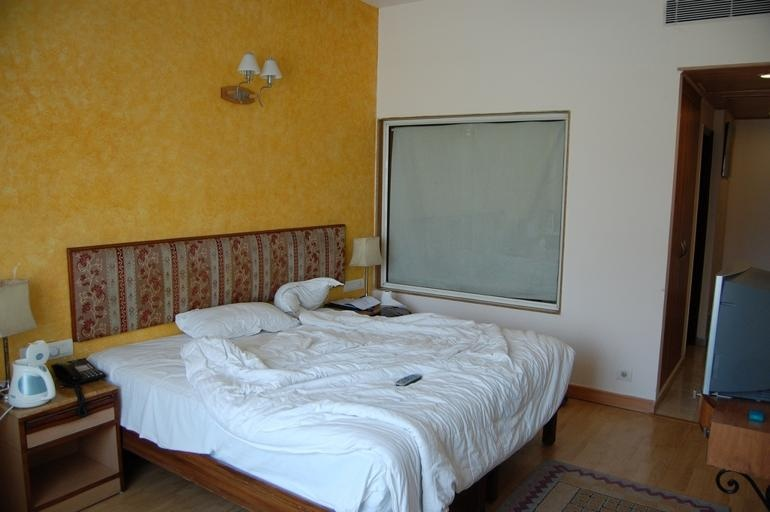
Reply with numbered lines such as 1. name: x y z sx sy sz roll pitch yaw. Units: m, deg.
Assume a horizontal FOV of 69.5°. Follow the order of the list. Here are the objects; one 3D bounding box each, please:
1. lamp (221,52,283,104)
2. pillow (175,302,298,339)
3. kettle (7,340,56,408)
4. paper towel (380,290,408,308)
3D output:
1. lamp: -1.054 -1.517 4.743 0.369 0.359 0.320 -3 10 -33
2. pillow: -1.213 0.530 4.541 0.525 0.124 0.397 -3 10 -39
3. kettle: -2.345 0.783 3.654 0.284 0.404 0.180 -7 12 -29
4. paper towel: 0.095 0.488 6.069 0.242 0.123 0.177 10 4 7
